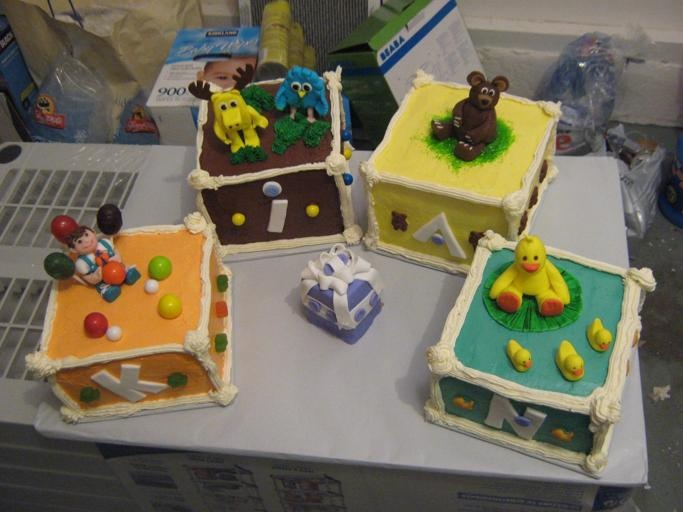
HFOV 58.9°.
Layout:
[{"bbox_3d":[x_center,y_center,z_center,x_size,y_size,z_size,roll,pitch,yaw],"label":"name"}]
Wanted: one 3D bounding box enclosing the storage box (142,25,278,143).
[{"bbox_3d":[-1.846,-2.540,8.028,1.331,0.922,1.563,4,65,3],"label":"storage box"}]
